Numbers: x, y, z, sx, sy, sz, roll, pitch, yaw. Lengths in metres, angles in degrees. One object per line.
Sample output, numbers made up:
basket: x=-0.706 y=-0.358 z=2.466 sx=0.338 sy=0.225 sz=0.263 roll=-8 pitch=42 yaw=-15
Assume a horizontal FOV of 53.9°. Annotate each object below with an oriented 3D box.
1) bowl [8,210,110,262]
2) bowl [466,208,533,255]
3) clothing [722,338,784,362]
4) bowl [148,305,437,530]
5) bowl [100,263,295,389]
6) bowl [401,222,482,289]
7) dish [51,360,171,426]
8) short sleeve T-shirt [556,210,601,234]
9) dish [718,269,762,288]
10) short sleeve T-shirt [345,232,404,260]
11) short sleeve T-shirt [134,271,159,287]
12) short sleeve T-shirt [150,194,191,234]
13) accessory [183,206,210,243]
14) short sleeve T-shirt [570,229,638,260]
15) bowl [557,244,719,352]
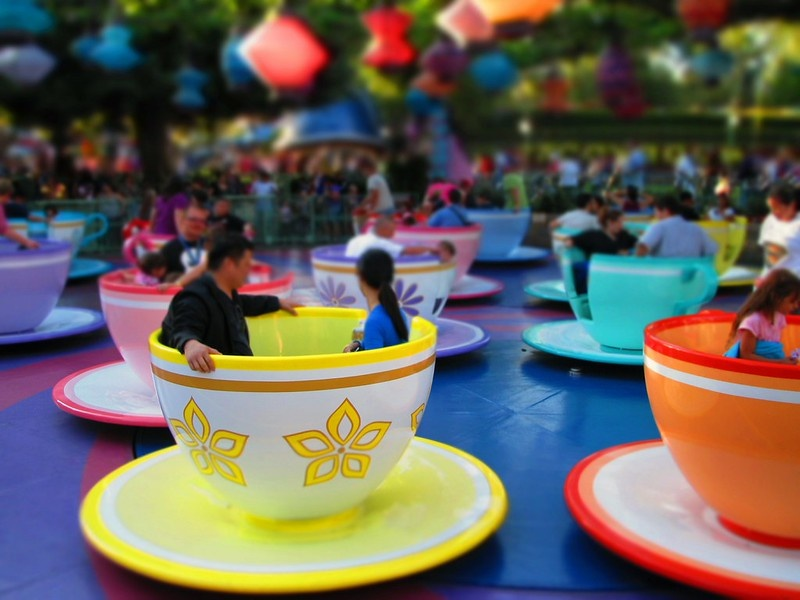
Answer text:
bowl: x=-4.265 y=-1.015 z=9.725 sx=1.191 sy=0.457 sz=0.838 roll=1 pitch=2 yaw=-6
bowl: x=1.400 y=-1.034 z=10.486 sx=0.781 sy=0.467 sz=0.819 roll=-1 pitch=0 yaw=0
clothing: x=1.658 y=0.212 z=3.673 sx=0.265 sy=0.134 sz=0.202 roll=0 pitch=3 yaw=18
bowl: x=-0.397 y=0.486 z=3.433 sx=1.046 sy=0.662 sz=1.067 roll=-1 pitch=-2 yaw=0
bowl: x=-1.301 y=0.020 z=4.868 sx=0.928 sy=0.662 sz=0.955 roll=0 pitch=7 yaw=0
bowl: x=0.382 y=-0.499 z=7.523 sx=0.643 sy=0.487 sz=0.661 roll=-1 pitch=3 yaw=0
dish: x=-1.740 y=0.555 z=4.668 sx=0.537 sy=0.089 sz=0.540 roll=11 pitch=14 yaw=-11
short sleeve T-shirt: x=1.581 y=-0.766 z=6.910 sx=0.113 sy=0.355 sz=0.297 roll=-8 pitch=18 yaw=-42
dish: x=3.815 y=-0.317 z=8.854 sx=0.490 sy=0.134 sz=0.542 roll=2 pitch=17 yaw=33
short sleeve T-shirt: x=-0.194 y=-0.464 z=5.864 sx=0.466 sy=0.226 sz=0.274 roll=4 pitch=19 yaw=13
short sleeve T-shirt: x=-1.827 y=-0.196 z=5.589 sx=0.166 sy=0.133 sz=0.176 roll=4 pitch=1 yaw=35
short sleeve T-shirt: x=-1.708 y=-0.717 z=5.825 sx=0.181 sy=0.343 sz=0.261 roll=13 pitch=13 yaw=1
accessory: x=-1.476 y=-0.634 z=5.679 sx=0.164 sy=0.243 sz=0.237 roll=0 pitch=-3 yaw=-12
short sleeve T-shirt: x=1.641 y=-0.505 z=6.373 sx=0.357 sy=0.158 sz=0.270 roll=3 pitch=6 yaw=-6
bowl: x=1.775 y=-0.065 z=5.805 sx=0.761 sy=0.573 sz=0.923 roll=0 pitch=2 yaw=-20
